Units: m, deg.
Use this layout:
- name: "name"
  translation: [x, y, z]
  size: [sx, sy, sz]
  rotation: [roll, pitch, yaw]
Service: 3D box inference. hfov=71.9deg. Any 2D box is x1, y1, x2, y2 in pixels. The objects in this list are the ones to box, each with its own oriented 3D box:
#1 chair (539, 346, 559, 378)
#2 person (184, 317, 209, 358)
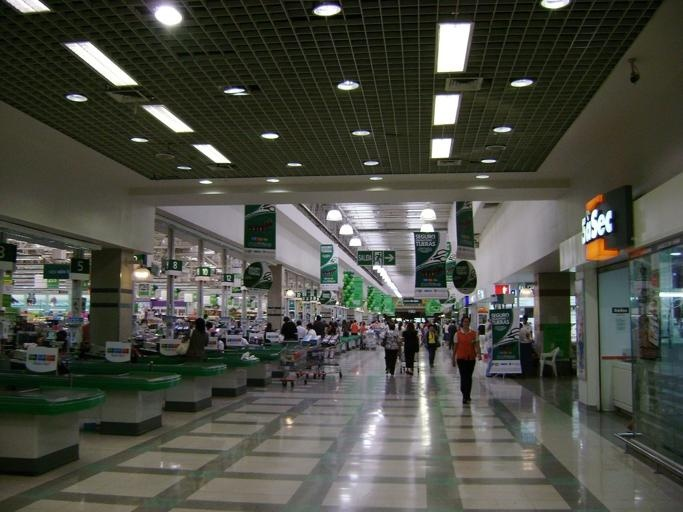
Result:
- name: "chair"
  translation: [6.568, 3.299, 14.867]
  size: [0.658, 0.900, 0.312]
  rotation: [-1, -5, 6]
- name: "person"
  translation: [-2.966, 1.693, 9.778]
  size: [0.377, 0.812, 0.526]
  rotation: [0, -5, -7]
